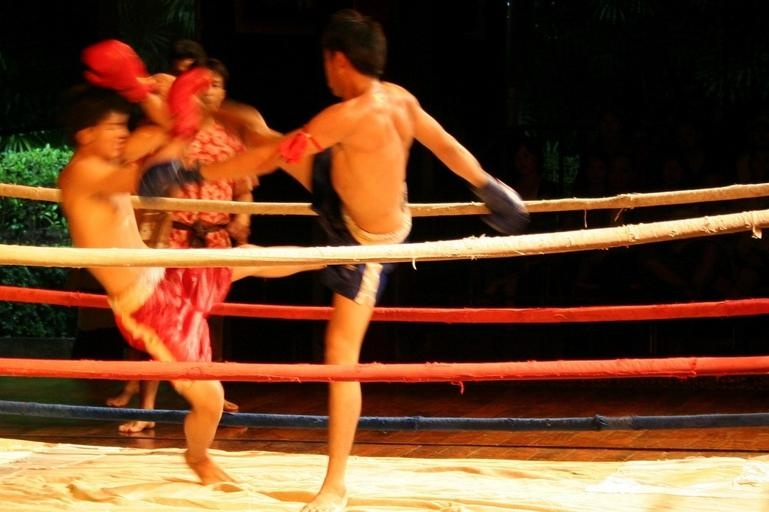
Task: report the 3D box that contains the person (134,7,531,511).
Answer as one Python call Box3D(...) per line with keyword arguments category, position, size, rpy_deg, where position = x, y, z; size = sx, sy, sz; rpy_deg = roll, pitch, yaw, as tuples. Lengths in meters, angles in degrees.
Box3D(category="person", position=(-0.127, 0.018, 4.209), size=(1.425, 2.407, 0.928), rpy_deg=(0, 6, 14))

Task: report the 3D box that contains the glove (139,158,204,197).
Box3D(category="glove", position=(-0.969, -0.359, 3.936), size=(0.408, 0.118, 0.146), rpy_deg=(-6, 48, 6))
